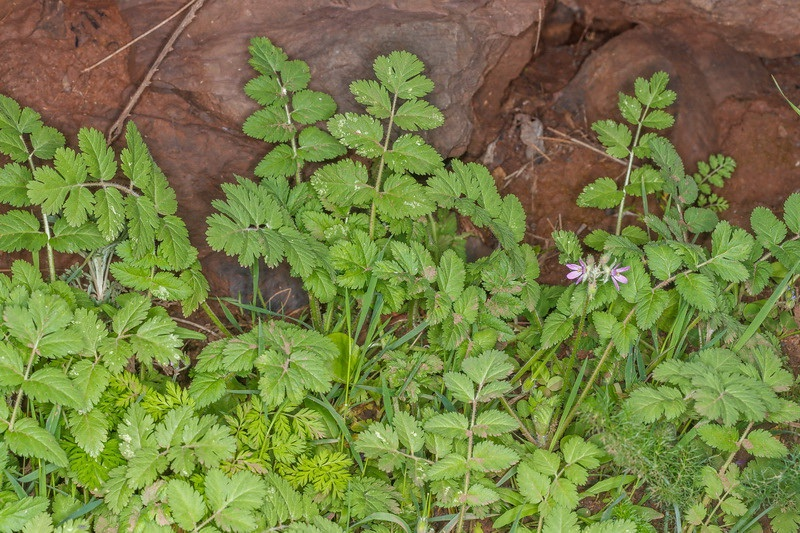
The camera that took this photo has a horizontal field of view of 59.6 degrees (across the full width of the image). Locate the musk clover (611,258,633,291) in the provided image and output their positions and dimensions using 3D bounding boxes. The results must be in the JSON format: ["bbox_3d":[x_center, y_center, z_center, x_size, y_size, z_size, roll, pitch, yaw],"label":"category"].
[{"bbox_3d":[1.799,0.103,5.715,0.091,0.215,0.211,20,60,44],"label":"musk clover"}]
